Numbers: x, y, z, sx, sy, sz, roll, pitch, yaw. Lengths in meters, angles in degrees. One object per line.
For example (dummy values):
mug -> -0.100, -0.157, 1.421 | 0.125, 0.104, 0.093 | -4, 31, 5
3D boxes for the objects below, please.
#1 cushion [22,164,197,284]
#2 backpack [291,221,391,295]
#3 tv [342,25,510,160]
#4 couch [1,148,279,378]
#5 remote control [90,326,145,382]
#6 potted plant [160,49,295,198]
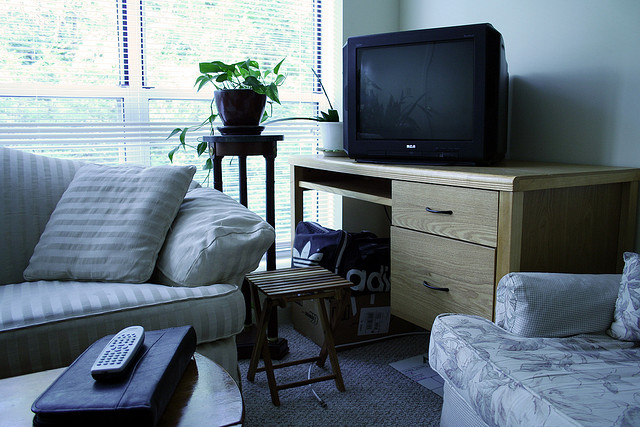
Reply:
cushion -> -0.894, 0.028, 2.049 | 0.602, 0.525, 0.139 | 6, -28, 14
backpack -> 0.146, 0.253, 2.697 | 0.602, 0.317, 0.631 | 8, -1, -44
tv -> 0.615, -0.584, 2.383 | 0.534, 0.620, 0.896 | -14, 18, -38
couch -> -0.808, 0.358, 2.300 | 1.061, 0.918, 0.695 | -7, -33, -3
remote control -> -0.547, 0.378, 1.300 | 0.095, 0.044, 0.200 | -6, 18, 4
potted plant -> -0.486, -0.585, 2.578 | 0.681, 0.382, 0.816 | -2, -1, -12
